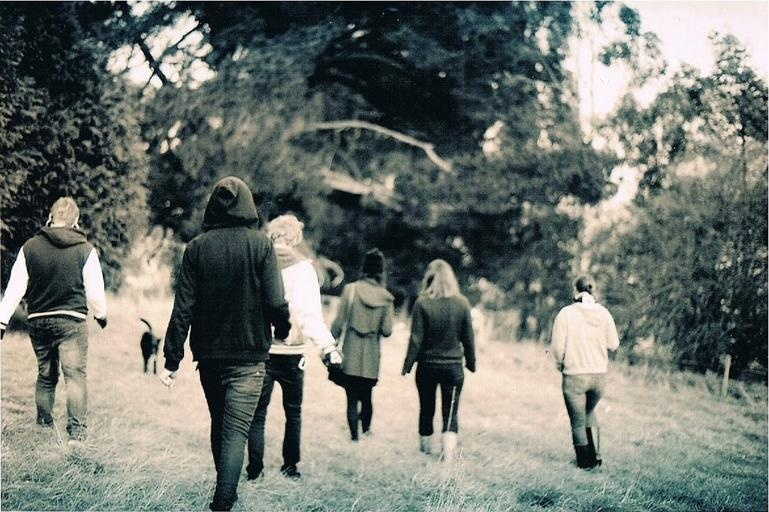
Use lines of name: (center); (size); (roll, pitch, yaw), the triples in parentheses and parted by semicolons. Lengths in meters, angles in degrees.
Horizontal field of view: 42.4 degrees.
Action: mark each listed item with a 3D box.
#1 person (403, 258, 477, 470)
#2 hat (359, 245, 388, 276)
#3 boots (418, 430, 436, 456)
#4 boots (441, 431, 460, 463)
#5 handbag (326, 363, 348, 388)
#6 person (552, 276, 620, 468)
person: (0.739, 1.395, 13.567); (0.964, 2.696, 0.361); (3, -5, 0)
hat: (-0.157, 0.105, 14.028); (0.234, 0.517, 0.258); (4, -7, 16)
boots: (0.584, 2.563, 13.763); (0.265, 0.456, 0.264); (-1, 17, 3)
boots: (0.866, 2.556, 13.422); (0.199, 0.401, 0.285); (4, -5, 0)
handbag: (-0.675, 1.620, 13.877); (0.356, 0.384, 0.095); (4, 11, 33)
person: (2.731, 1.587, 13.719); (0.897, 2.641, 0.354); (5, -5, -19)
